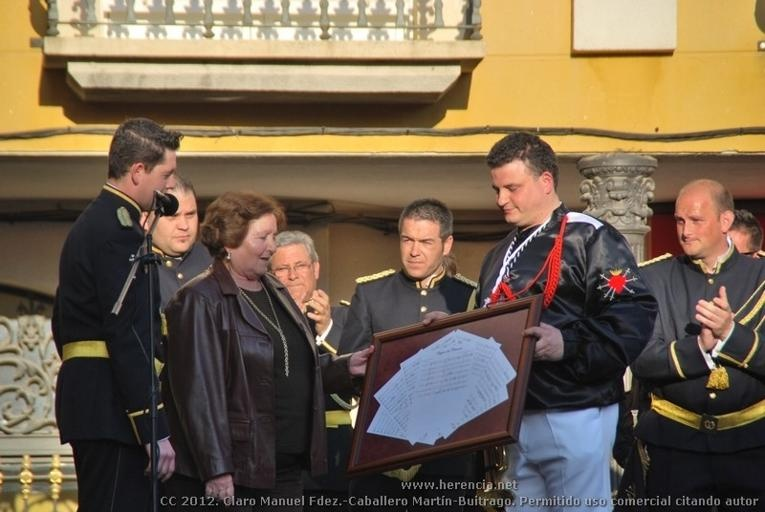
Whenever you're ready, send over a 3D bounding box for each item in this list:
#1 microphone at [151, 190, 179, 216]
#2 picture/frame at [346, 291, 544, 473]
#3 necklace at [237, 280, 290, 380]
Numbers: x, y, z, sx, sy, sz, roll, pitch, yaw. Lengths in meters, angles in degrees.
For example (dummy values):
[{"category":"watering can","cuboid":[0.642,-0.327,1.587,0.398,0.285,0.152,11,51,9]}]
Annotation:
[{"category":"microphone","cuboid":[-1.849,-0.449,15.154,0.200,0.233,0.284,-3,-8,-8]},{"category":"picture/frame","cuboid":[0.523,1.147,15.196,1.872,1.397,0.105,-15,-37,38]},{"category":"necklace","cuboid":[-0.953,0.608,15.358,0.300,0.919,0.028,-33,-33,9]}]
